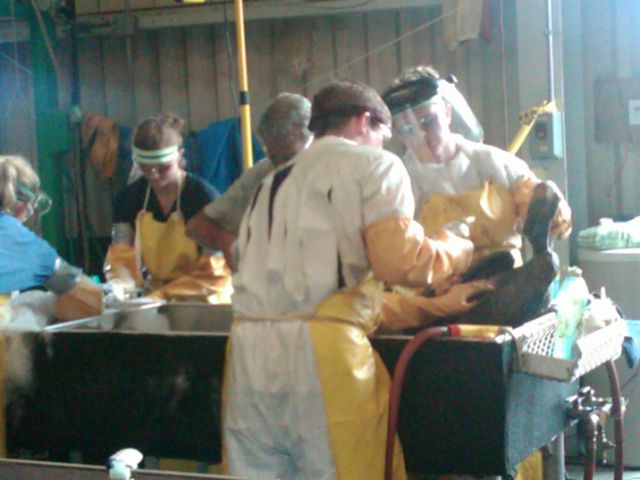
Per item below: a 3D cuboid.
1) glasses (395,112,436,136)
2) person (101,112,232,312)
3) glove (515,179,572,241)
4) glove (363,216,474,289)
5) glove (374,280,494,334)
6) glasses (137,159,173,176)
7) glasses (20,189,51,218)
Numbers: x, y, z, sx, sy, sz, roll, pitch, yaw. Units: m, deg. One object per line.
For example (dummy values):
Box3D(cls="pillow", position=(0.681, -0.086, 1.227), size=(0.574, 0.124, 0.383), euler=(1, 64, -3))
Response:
Box3D(cls="glasses", position=(0.331, -0.419, 3.868), size=(0.089, 0.032, 0.096), euler=(-15, 14, 23))
Box3D(cls="person", position=(-0.732, -0.193, 5.127), size=(0.707, 1.181, 0.776), euler=(-2, 12, -6))
Box3D(cls="glove", position=(0.839, -0.111, 3.981), size=(0.169, 0.254, 0.089), euler=(18, 8, 24))
Box3D(cls="glove", position=(0.334, 0.044, 3.722), size=(0.278, 0.246, 0.137), euler=(-5, -16, -8))
Box3D(cls="glove", position=(0.423, 0.239, 3.885), size=(0.449, 0.138, 0.177), euler=(-7, 26, -7))
Box3D(cls="glasses", position=(-0.754, -0.320, 4.894), size=(0.153, 0.068, 0.093), euler=(-3, 4, -12))
Box3D(cls="glasses", position=(-1.159, -0.152, 4.375), size=(0.052, 0.119, 0.146), euler=(-23, 23, -30))
